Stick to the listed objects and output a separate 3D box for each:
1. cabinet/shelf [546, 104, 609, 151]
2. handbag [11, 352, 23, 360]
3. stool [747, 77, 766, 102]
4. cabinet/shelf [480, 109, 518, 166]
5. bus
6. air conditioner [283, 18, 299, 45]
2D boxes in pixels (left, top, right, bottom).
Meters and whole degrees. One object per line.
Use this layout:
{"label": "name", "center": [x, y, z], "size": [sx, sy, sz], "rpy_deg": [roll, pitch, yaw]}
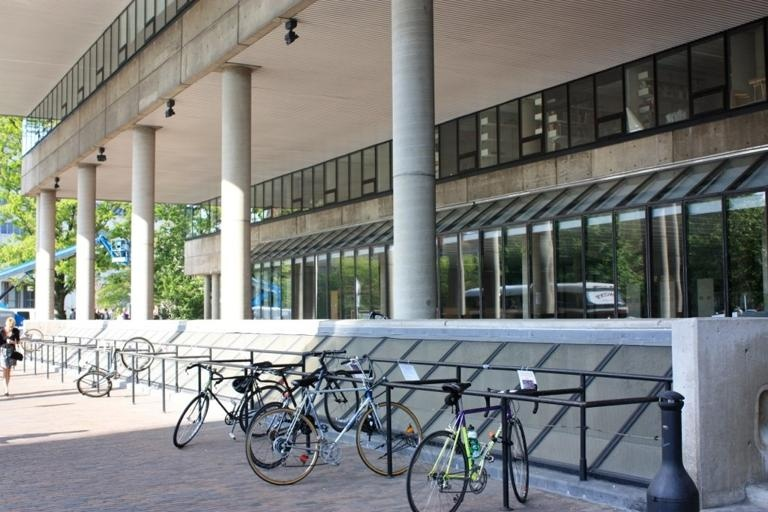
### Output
{"label": "cabinet/shelf", "center": [6.284, -4.292, 31.371], "size": [1.119, 1.796, 2.043], "rpy_deg": [0, -1, -29]}
{"label": "handbag", "center": [-10.729, 2.960, 28.217], "size": [0.355, 0.113, 0.245], "rpy_deg": [12, 3, 22]}
{"label": "stool", "center": [10.445, -4.576, 26.795], "size": [0.184, 0.668, 0.535], "rpy_deg": [1, -6, -29]}
{"label": "cabinet/shelf", "center": [4.068, -4.077, 33.378], "size": [0.763, 1.891, 2.207], "rpy_deg": [-1, -2, -30]}
{"label": "bus", "center": [5.779, 1.366, 30.174], "size": [1.257, 1.113, 4.553], "rpy_deg": [3, -3, -35]}
{"label": "air conditioner", "center": [-2.608, -6.287, 27.019], "size": [0.334, 0.769, 0.615], "rpy_deg": [-3, 7, -31]}
